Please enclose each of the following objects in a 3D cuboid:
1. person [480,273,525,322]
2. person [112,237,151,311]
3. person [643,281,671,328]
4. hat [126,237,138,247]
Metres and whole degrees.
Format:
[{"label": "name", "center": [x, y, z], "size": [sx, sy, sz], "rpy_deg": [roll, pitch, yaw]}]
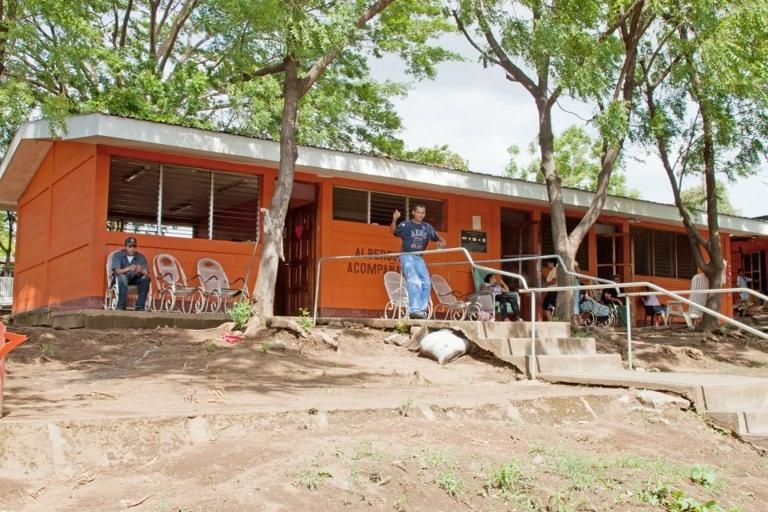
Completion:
[{"label": "person", "center": [2.834, 0.969, 13.805], "size": [0.676, 1.300, 0.837], "rpy_deg": [6, -17, -30]}, {"label": "person", "center": [-4.984, 0.313, 11.243], "size": [0.690, 1.439, 0.510], "rpy_deg": [5, -8, -36]}, {"label": "person", "center": [7.870, 1.343, 16.368], "size": [0.770, 1.382, 0.629], "rpy_deg": [-3, 16, 38]}, {"label": "hat", "center": [-5.006, -0.285, 11.301], "size": [0.158, 0.128, 0.224], "rpy_deg": [1, -4, -25]}]
